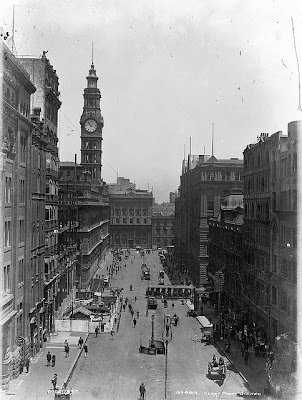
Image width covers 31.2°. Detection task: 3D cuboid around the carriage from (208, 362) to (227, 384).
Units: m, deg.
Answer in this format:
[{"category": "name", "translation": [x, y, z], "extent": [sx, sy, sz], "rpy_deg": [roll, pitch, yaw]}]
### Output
[{"category": "carriage", "translation": [4.716, 12.438, 38.889], "extent": [0.636, 0.951, 1.481], "rpy_deg": [4, 0, -4]}]
